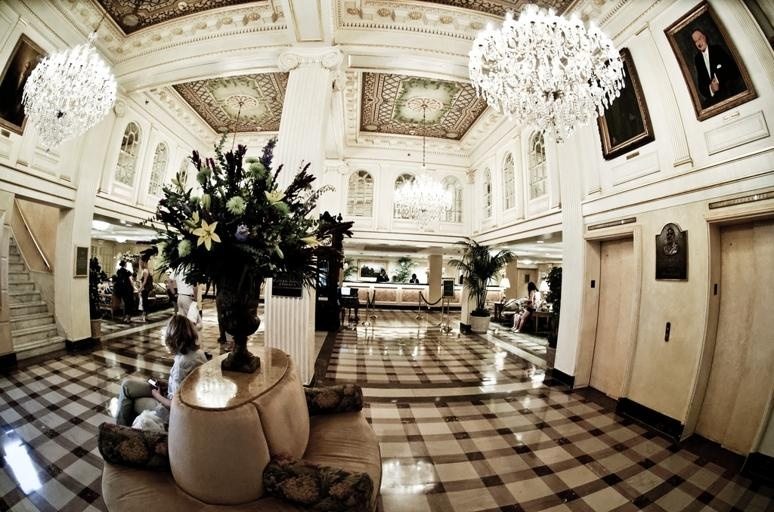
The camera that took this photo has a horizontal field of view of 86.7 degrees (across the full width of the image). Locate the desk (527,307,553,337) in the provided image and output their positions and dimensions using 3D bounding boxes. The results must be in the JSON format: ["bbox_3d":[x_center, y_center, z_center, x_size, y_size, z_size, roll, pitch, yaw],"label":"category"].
[{"bbox_3d":[4.779,1.976,12.602,0.696,0.927,1.297,1,-3,45],"label":"desk"}]

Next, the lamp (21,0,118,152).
[{"bbox_3d":[-5.809,-3.087,7.538,1.259,2.132,0.567,-1,6,-40],"label":"lamp"}]

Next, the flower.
[{"bbox_3d":[-1.856,-0.574,5.315,2.157,1.976,0.456,2,5,-10],"label":"flower"}]
